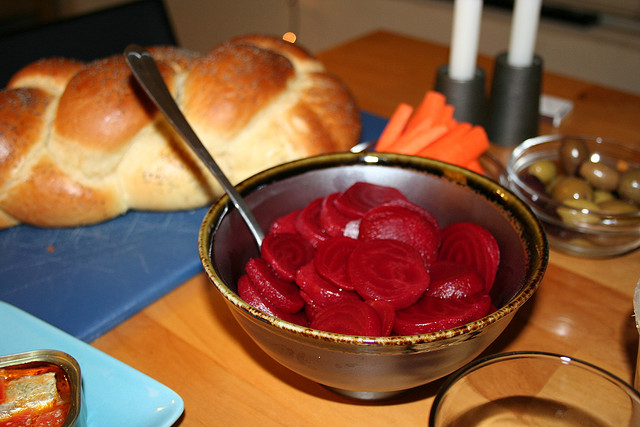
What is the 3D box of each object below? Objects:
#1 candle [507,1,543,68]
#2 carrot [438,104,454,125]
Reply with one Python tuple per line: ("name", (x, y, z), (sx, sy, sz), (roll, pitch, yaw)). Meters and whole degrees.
("candle", (0.536, -0.475, 1.385), (0.076, 0.149, 0.110), (11, 49, 16))
("carrot", (0.313, -0.235, 1.276), (0.014, 0.049, 0.049), (16, 8, -28))
